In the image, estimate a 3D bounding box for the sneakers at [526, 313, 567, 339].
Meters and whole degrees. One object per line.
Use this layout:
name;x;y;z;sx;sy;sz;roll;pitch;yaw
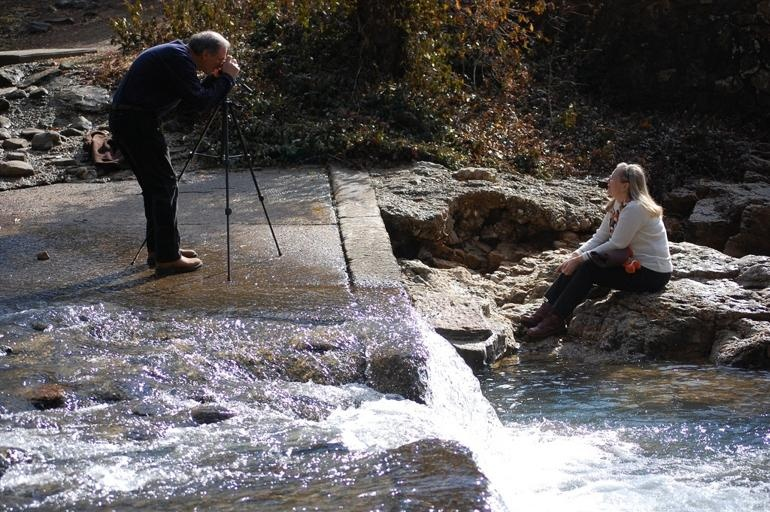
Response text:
sneakers;1.947;0.849;9.178;0.620;0.241;0.205;-5;12;-15

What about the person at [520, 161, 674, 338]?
person;2.576;-0.023;8.991;1.507;2.071;0.521;2;20;0

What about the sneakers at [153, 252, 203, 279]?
sneakers;-2.275;0.111;8.477;0.487;0.181;0.218;-15;20;-24
